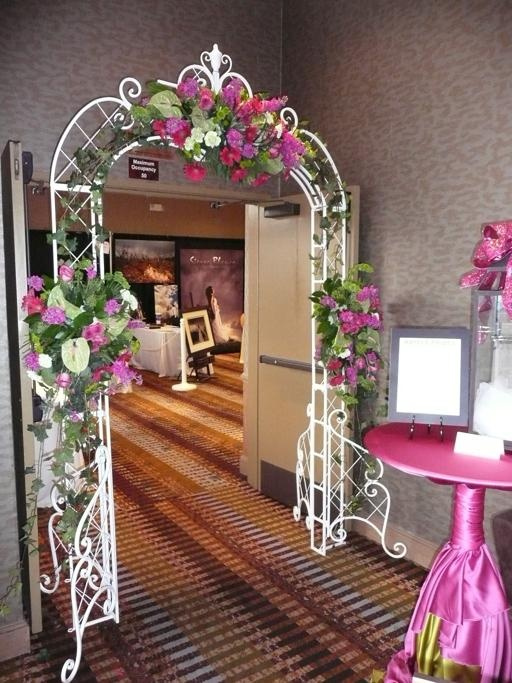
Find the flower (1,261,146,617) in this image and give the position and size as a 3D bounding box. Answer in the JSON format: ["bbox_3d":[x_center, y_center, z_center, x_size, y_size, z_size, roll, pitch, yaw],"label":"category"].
[{"bbox_3d":[-0.738,0.388,2.120,0.569,1.431,0.466,-1,6,-12],"label":"flower"}]

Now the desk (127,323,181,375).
[{"bbox_3d":[-1.678,-0.051,8.736,0.763,0.476,0.444,4,-38,-13],"label":"desk"}]

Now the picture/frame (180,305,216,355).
[{"bbox_3d":[-0.892,-0.169,8.417,0.036,0.692,0.740,-12,0,-43],"label":"picture/frame"}]
